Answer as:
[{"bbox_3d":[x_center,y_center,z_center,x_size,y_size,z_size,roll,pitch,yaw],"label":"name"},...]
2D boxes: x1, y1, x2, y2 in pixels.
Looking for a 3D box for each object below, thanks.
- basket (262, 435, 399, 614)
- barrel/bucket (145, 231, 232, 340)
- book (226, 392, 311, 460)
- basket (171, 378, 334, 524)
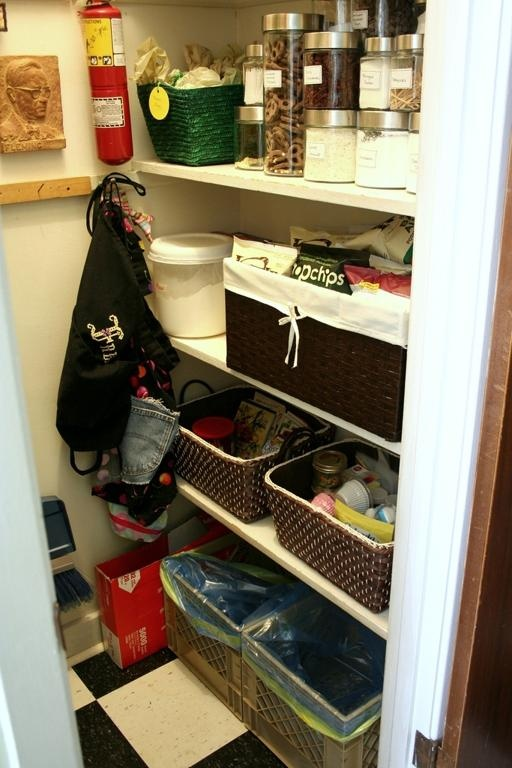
[{"bbox_3d":[0.138,0.275,1.114,0.192,0.137,0.264,-17,32,-28],"label":"basket"},{"bbox_3d":[-0.159,-0.236,1.392,0.238,0.243,0.245,0,31,0],"label":"barrel/bucket"},{"bbox_3d":[0.018,0.120,1.564,0.143,0.082,0.199,-16,33,-25],"label":"book"},{"bbox_3d":[0.002,0.085,1.456,0.347,0.237,0.350,-18,27,-38],"label":"basket"}]
